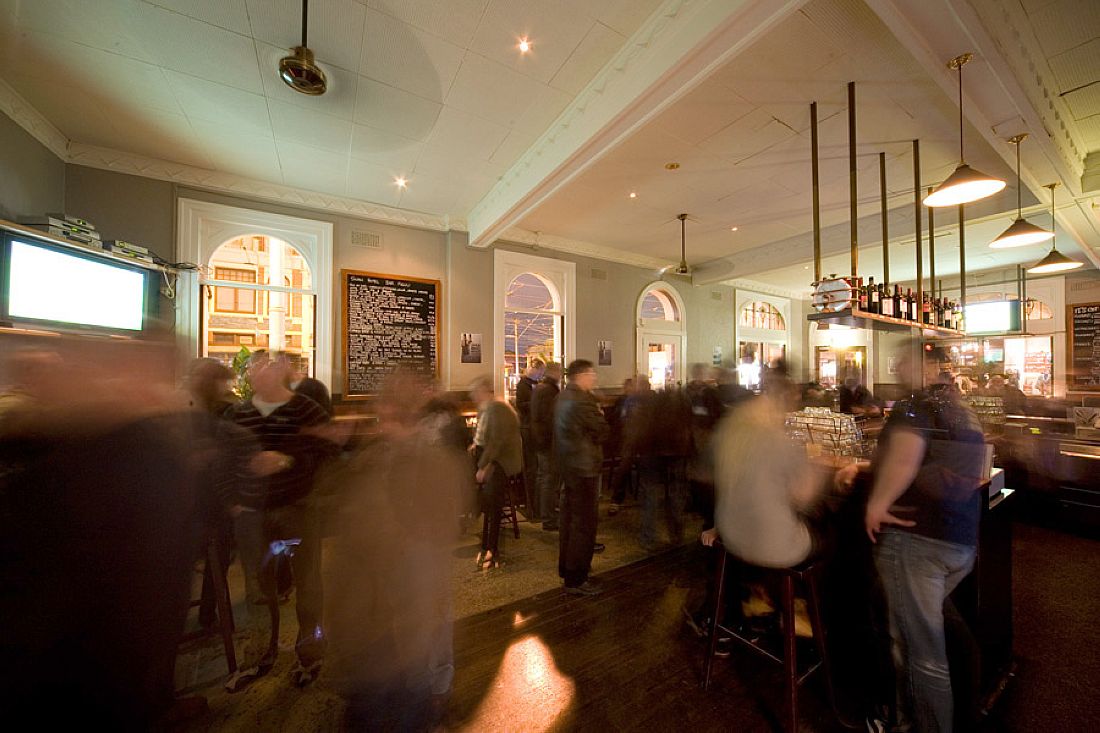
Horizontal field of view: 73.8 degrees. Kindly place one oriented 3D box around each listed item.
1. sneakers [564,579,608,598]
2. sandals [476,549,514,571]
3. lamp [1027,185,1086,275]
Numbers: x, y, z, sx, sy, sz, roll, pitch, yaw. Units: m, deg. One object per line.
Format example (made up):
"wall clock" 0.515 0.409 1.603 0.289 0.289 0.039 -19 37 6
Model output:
"sneakers" 0.314 1.938 6.548 0.363 0.252 0.128 -5 -3 6
"sandals" -0.501 1.811 6.916 0.373 0.254 0.124 -2 -5 0
"lamp" 5.471 -1.543 7.982 0.569 0.876 0.531 -3 3 37
